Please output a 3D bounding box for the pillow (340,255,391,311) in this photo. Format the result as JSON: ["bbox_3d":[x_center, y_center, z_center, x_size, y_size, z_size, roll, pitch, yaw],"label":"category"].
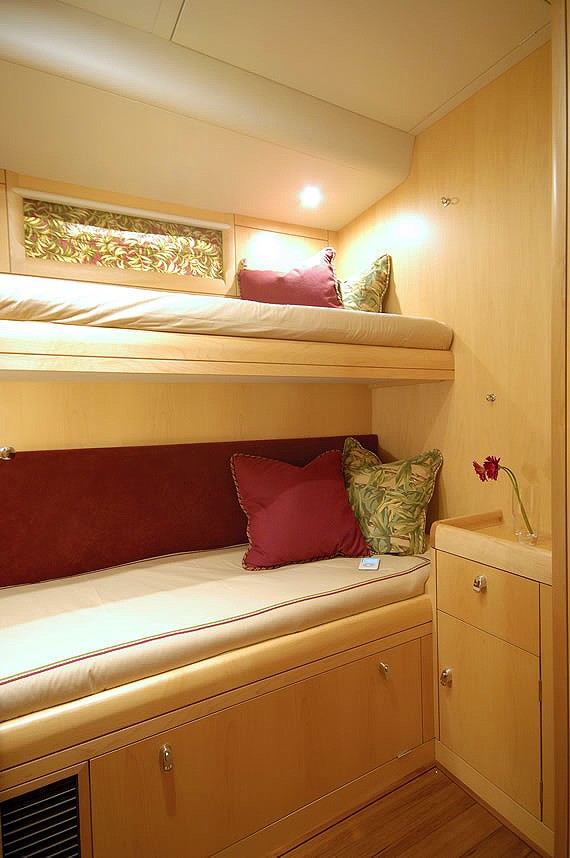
[{"bbox_3d":[0.341,-0.582,2.496,0.245,0.269,0.079,-6,-14,20],"label":"pillow"}]
